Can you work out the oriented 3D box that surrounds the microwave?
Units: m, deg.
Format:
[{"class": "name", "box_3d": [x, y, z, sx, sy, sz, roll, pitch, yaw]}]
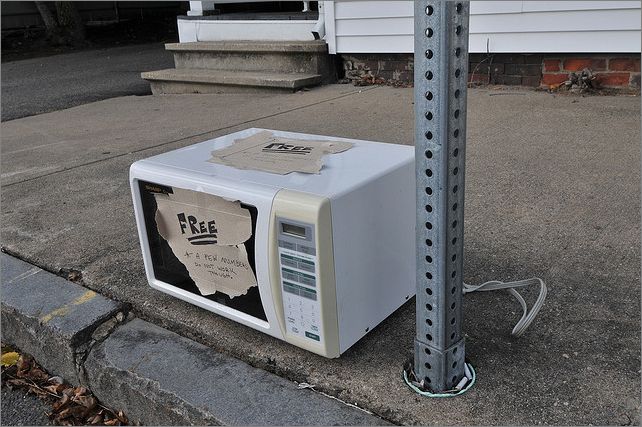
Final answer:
[{"class": "microwave", "box_3d": [-0.080, 0.008, 2.198, 1.253, 0.755, 0.948, 16, 32, 32]}]
